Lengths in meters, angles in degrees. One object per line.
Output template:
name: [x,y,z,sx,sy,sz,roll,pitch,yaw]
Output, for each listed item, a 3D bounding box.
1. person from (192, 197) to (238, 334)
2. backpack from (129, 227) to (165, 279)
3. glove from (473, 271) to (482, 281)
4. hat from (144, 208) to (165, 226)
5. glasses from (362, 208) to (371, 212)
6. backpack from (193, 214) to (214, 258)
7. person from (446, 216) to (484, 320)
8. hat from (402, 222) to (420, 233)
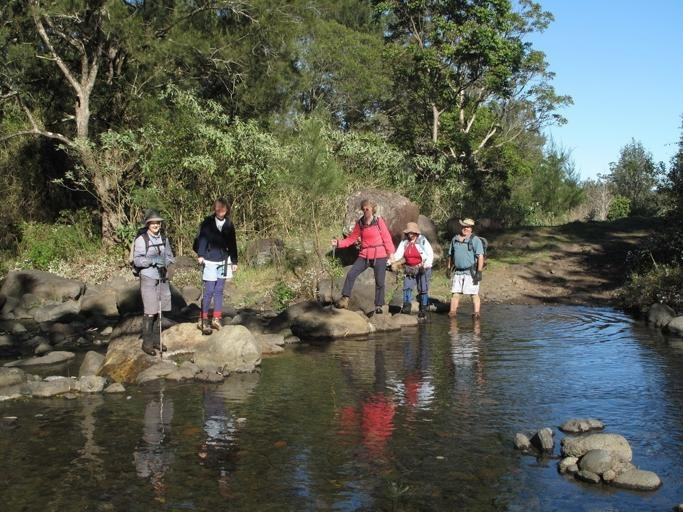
person: [-2.500,0.187,12.471,0.795,2.722,0.643,-2,7,-14]
backpack: [-3.406,-0.117,11.200,0.702,1.093,0.422,-3,7,-19]
glove: [3.361,0.472,15.296,0.170,0.311,0.357,2,7,20]
hat: [-3.373,-0.723,11.245,0.292,0.201,0.325,-3,3,3]
glasses: [0.569,-1.072,14.146,0.107,0.082,0.098,2,-4,-11]
backpack: [-2.728,-0.377,12.407,0.259,0.752,0.550,24,-12,-20]
person: [3.072,0.319,15.374,0.890,2.535,0.739,3,8,23]
hat: [1.726,-0.683,15.085,0.457,0.289,0.517,1,3,9]
